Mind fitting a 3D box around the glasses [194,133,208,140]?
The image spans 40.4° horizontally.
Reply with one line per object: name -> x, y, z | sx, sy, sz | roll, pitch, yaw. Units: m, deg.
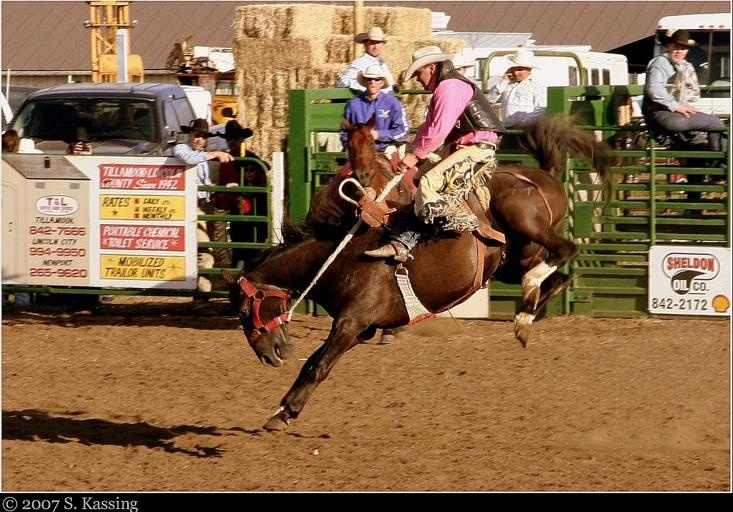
glasses -> -1.961, -1.449, 12.038 | 0.087, 0.076, 0.171 | 5, 7, 28

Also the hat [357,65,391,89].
hat -> 0.110, -2.034, 11.132 | 0.448, 0.127, 0.373 | 2, -18, 3

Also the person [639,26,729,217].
person -> 3.865, -1.613, 12.141 | 1.017, 2.241, 1.131 | 3, 8, 9

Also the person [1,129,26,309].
person -> -4.669, -0.506, 13.300 | 0.346, 2.334, 0.991 | -1, 8, -19

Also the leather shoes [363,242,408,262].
leather shoes -> 0.201, -0.027, 8.713 | 0.408, 0.193, 0.166 | 1, 7, -2

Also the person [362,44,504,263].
person -> 0.672, -0.953, 9.001 | 0.850, 1.954, 1.124 | 4, 8, 17

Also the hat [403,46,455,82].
hat -> 0.482, -1.811, 9.221 | 0.504, 0.129, 0.377 | -17, -8, 21

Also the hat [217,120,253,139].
hat -> -1.690, -1.538, 12.371 | 0.521, 0.110, 0.362 | 1, 22, 3

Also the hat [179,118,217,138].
hat -> -2.070, -1.558, 12.239 | 0.604, 0.138, 0.491 | 1, 3, 1
